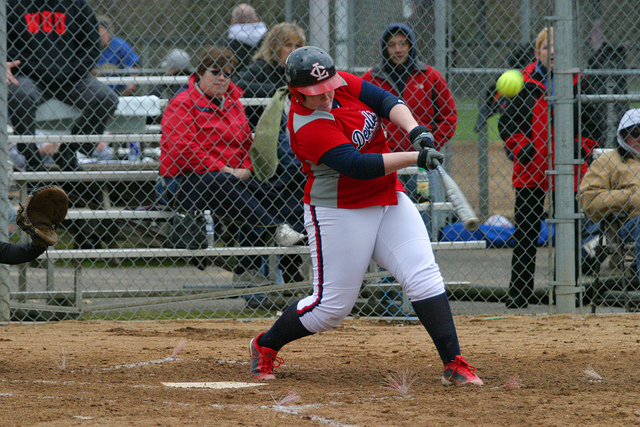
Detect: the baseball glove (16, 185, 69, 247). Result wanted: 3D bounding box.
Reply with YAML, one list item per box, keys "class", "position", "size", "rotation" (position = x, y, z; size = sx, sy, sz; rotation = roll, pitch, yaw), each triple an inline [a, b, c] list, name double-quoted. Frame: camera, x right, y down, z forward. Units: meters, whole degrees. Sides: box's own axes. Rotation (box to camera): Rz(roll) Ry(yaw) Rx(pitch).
- class: "baseball glove"
  position: [-2.406, 0.020, 10.362]
  size: [0.448, 0.448, 0.279]
  rotation: [-3, 1, -12]

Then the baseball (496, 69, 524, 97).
- class: "baseball"
  position: [1.882, -1.298, 12.181]
  size: [0.263, 0.271, 0.170]
  rotation: [-8, -19, -28]
